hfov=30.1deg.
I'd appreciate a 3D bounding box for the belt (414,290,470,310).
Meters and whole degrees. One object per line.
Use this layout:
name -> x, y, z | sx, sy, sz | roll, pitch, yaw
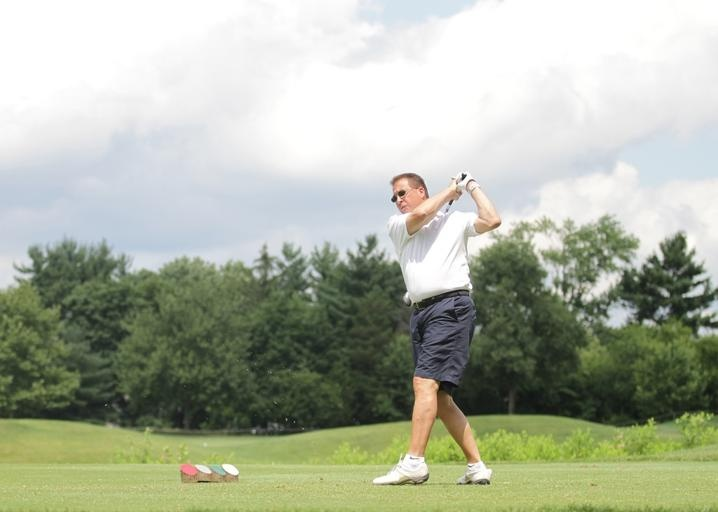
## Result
belt -> 1.397, 0.707, 22.675 | 0.967, 0.247, 0.183 | -6, -12, 5
